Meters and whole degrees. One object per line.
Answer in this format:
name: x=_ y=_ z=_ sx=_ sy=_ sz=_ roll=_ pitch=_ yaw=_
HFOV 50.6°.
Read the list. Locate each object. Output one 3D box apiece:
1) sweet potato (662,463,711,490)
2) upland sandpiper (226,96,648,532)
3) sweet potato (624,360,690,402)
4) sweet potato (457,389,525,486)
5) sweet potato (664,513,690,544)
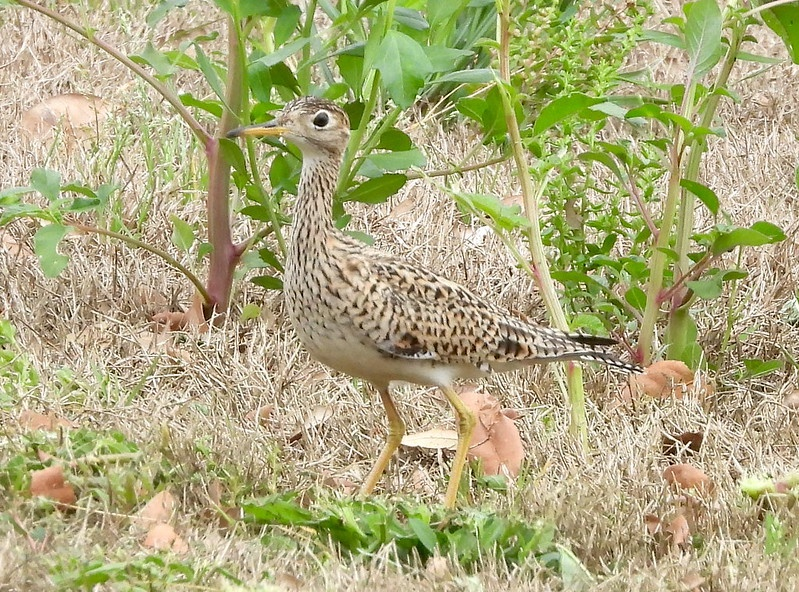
sweet potato: x=1.076 y=0.679 z=3.179 sx=0.154 sy=0.080 sz=0.090 roll=16 pitch=9 yaw=11
upland sandpiper: x=-0.022 y=-0.033 z=3.289 sx=1.456 sy=1.149 sz=0.719 roll=23 pitch=32 yaw=23
sweet potato: x=1.158 y=0.368 z=3.742 sx=0.274 sy=0.170 sz=0.268 roll=-6 pitch=13 yaw=-29
sweet potato: x=0.380 y=0.561 z=3.414 sx=0.192 sy=0.126 sz=0.316 roll=-8 pitch=71 yaw=2
sweet potato: x=0.970 y=0.807 z=2.917 sx=0.075 sy=0.036 sz=0.102 roll=8 pitch=66 yaw=4
